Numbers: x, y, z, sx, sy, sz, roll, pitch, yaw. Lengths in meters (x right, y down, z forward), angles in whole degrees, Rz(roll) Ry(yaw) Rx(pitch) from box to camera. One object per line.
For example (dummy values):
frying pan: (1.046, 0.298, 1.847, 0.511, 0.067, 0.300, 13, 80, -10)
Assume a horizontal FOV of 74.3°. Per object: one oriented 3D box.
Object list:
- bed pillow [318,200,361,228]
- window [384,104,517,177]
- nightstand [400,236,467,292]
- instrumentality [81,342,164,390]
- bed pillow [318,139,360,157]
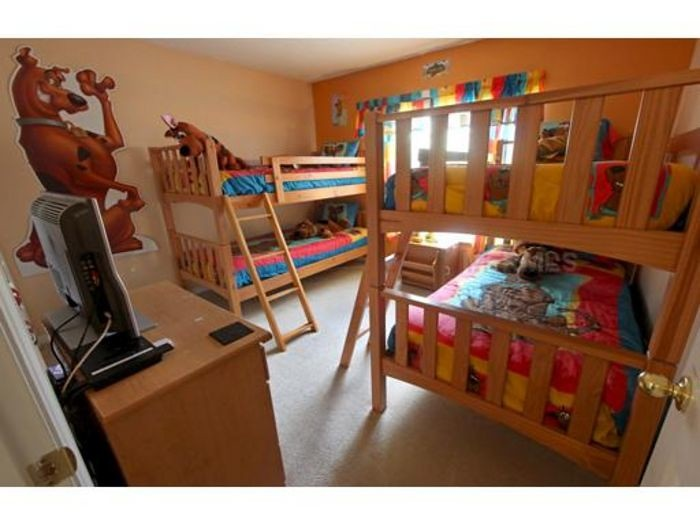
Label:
bed pillow: (-0.151, -0.609, 5.793, 0.565, 0.299, 0.379, 9, 21, 31)
window: (0.951, -1.215, 4.670, 1.283, 0.337, 1.303, 4, 18, 16)
nightstand: (0.863, -0.028, 4.579, 0.519, 0.420, 0.659, 8, 16, 34)
instrumentality: (-0.899, 0.377, 1.785, 0.188, 0.044, 0.201, 19, 24, 30)
bed pillow: (-0.106, -1.354, 5.508, 0.288, 0.153, 0.347, -14, 27, -25)
